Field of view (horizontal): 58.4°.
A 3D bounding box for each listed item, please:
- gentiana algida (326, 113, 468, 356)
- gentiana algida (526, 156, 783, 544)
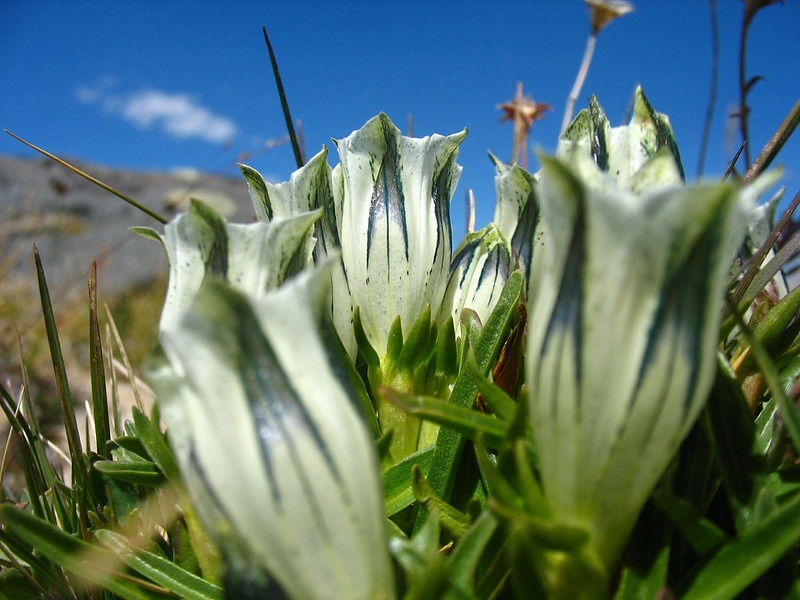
[{"bbox_3d":[-0.013,-0.071,0.881,0.176,0.353,0.179,5,-22,-6],"label":"gentiana algida"},{"bbox_3d":[0.192,0.050,0.575,0.176,0.327,0.084,2,4,8],"label":"gentiana algida"}]
